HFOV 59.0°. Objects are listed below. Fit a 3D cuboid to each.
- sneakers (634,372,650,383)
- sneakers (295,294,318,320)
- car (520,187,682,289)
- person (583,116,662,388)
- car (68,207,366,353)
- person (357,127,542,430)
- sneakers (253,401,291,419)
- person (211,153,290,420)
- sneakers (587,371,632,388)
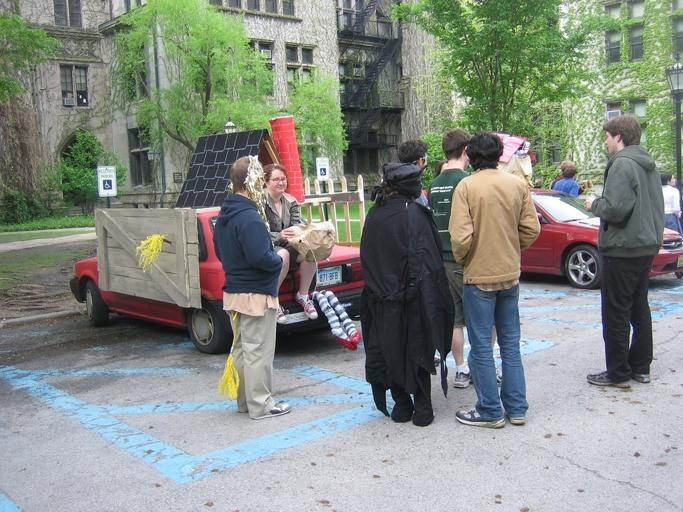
[{"bbox_3d":[2.979,1.221,6.058,0.070,0.081,0.187,-6,5,-35],"label":"sneakers"},{"bbox_3d":[-0.403,0.593,7.243,0.141,0.157,0.401,-24,61,-27],"label":"sneakers"},{"bbox_3d":[4.375,-0.254,11.231,3.339,1.160,1.443,0,1,39],"label":"car"},{"bbox_3d":[2.745,-0.049,5.925,0.751,2.635,0.490,-7,10,-27],"label":"person"},{"bbox_3d":[-1.907,0.153,8.323,3.597,1.496,1.882,7,9,36],"label":"car"},{"bbox_3d":[0.892,0.201,5.405,1.453,2.514,0.854,-3,9,1],"label":"person"},{"bbox_3d":[-0.636,1.427,5.692,0.360,0.144,0.130,-7,8,-24],"label":"sneakers"},{"bbox_3d":[-0.827,0.287,5.627,0.659,2.411,0.497,-3,9,-2],"label":"person"},{"bbox_3d":[2.622,1.228,5.941,0.399,0.173,0.150,2,2,26],"label":"sneakers"}]
